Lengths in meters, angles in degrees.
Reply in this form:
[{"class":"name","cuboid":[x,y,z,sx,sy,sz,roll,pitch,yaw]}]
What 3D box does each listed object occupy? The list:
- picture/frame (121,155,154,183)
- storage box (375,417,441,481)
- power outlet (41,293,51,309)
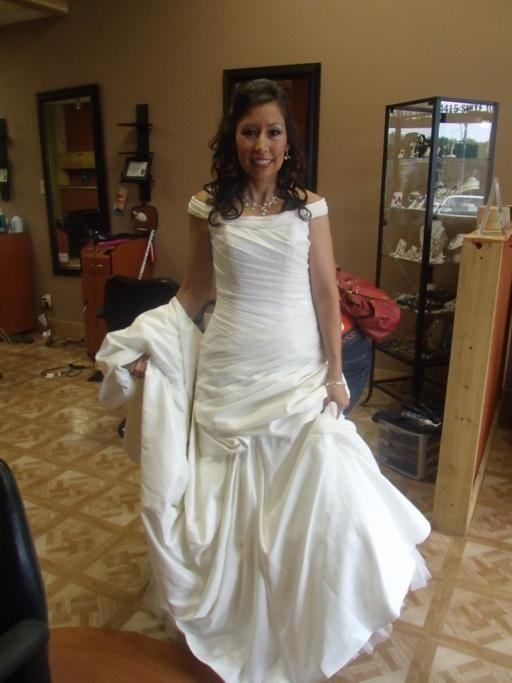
[{"class":"picture/frame","cuboid":[-0.961,-1.416,4.443,0.244,0.209,0.110,4,13,19]},{"class":"storage box","cuboid":[0.776,0.533,2.820,0.187,0.253,0.279,-13,21,-41]},{"class":"power outlet","cuboid":[-2.114,-0.406,5.434,0.150,0.150,0.070,11,19,36]}]
